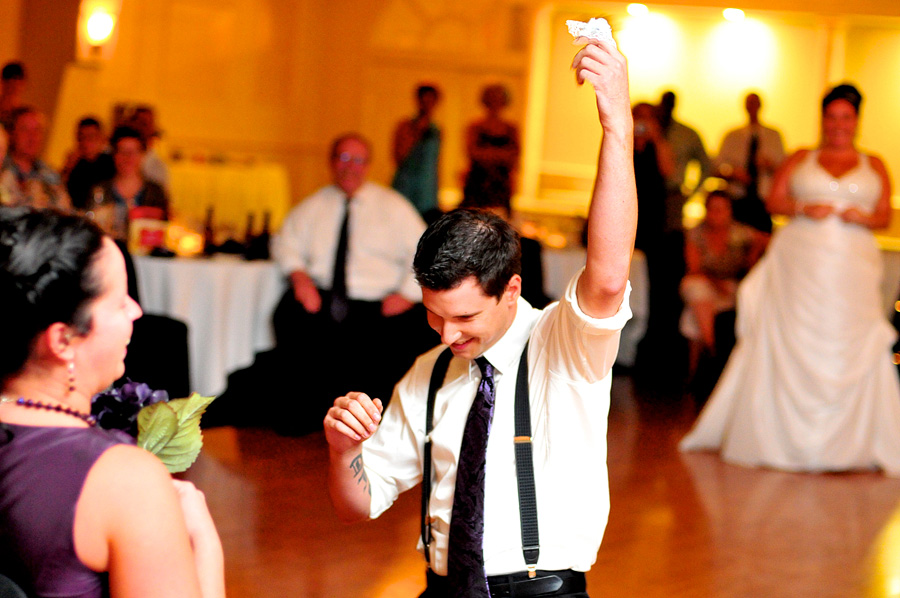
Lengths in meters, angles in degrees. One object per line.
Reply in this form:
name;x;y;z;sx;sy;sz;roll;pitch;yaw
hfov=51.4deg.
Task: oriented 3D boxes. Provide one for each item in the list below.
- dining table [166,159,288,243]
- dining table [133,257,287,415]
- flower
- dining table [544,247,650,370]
dining table;-1.540;-0.693;6.358;0.641;0.357;0.683;1;9;5
dining table;-1.366;0.189;5.482;0.726;0.796;0.772;3;4;29
flower;-0.767;0.289;2.425;0.244;0.163;0.251;26;12;-5
dining table;1.004;-0.016;6.854;0.811;1.045;0.770;2;-26;-2
